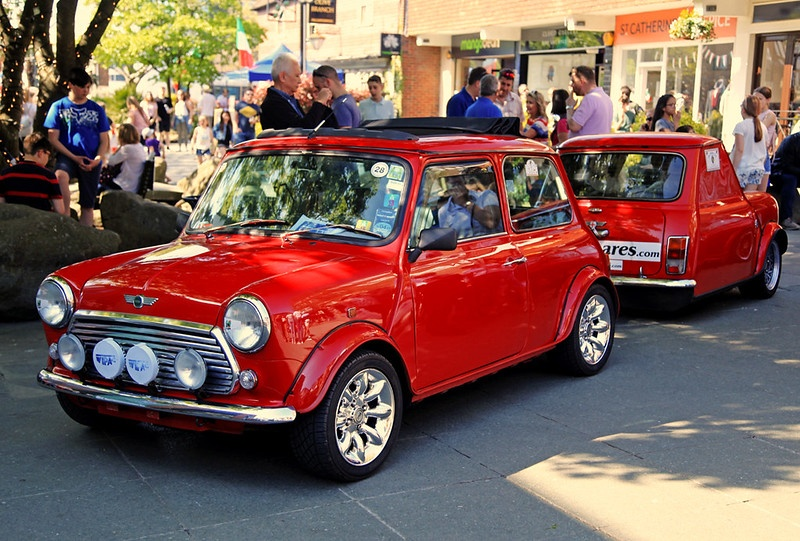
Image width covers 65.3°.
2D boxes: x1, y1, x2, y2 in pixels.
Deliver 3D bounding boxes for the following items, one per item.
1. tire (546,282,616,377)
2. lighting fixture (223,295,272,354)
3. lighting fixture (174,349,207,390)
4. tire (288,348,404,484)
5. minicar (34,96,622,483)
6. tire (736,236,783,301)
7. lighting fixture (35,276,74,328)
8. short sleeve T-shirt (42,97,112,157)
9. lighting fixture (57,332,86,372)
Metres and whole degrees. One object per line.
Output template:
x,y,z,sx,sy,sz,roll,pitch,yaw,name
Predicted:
1.778,0.586,6.257,0.755,0.746,0.246,-25,27,-38,tire
-0.968,0.338,3.927,0.366,0.369,0.105,6,9,28,lighting fixture
-1.334,0.608,4.052,0.202,0.246,0.080,-23,4,19,lighting fixture
-0.400,0.975,4.229,0.227,0.711,0.717,10,37,45,tire
-0.190,0.142,5.584,2.494,2.102,4.711,1,4,42,minicar
5.142,-0.043,8.992,0.269,0.790,0.801,11,19,42,tire
-2.501,0.234,4.508,0.382,0.344,0.141,11,16,38,lighting fixture
-5.275,-2.298,10.064,1.260,1.193,0.631,-6,9,-33,short sleeve T-shirt
-2.299,0.568,4.358,0.278,0.278,0.049,9,13,22,lighting fixture
